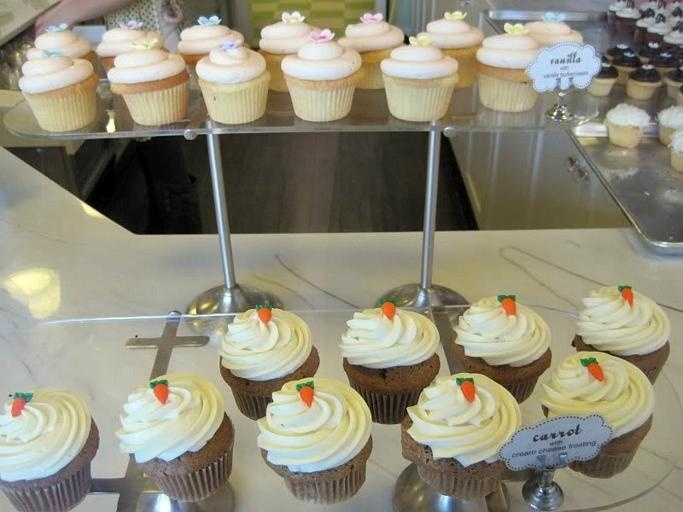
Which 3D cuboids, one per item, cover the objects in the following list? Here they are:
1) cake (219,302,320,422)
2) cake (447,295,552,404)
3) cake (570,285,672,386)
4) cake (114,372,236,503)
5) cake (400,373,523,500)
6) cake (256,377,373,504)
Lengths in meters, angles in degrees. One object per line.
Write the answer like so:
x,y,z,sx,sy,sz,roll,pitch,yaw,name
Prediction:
-0.201,0.266,1.527,0.257,0.300,0.253,-11,38,-16,cake
0.424,0.233,1.506,0.235,0.291,0.257,1,35,15,cake
0.729,0.245,1.500,0.236,0.251,0.187,6,33,19,cake
-0.321,0.381,1.359,0.263,0.300,0.243,3,37,5,cake
0.261,0.393,1.280,0.267,0.219,0.239,-7,23,8,cake
-0.058,0.406,1.322,0.257,0.233,0.236,2,33,1,cake
